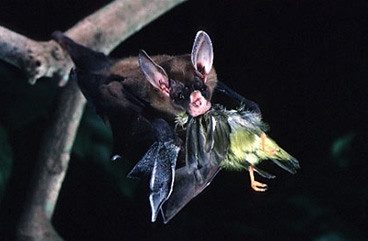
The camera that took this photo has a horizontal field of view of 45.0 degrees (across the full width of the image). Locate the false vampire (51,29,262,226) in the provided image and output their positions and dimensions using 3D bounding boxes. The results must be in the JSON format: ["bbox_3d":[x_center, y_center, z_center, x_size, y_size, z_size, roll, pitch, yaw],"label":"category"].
[{"bbox_3d":[-0.206,-0.049,2.310,0.959,0.448,0.809,46,41,19],"label":"false vampire"}]

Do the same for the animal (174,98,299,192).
[{"bbox_3d":[0.288,0.040,2.245,0.648,0.540,0.615,6,-4,-43],"label":"animal"}]
